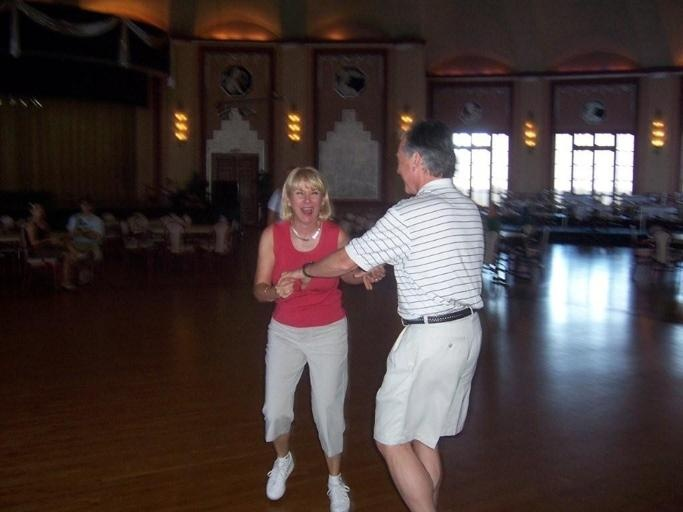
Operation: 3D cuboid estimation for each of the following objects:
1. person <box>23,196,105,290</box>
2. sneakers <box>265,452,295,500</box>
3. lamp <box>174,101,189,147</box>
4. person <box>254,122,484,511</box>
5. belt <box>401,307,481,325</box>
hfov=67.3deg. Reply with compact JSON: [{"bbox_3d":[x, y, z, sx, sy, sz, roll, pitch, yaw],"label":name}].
[{"bbox_3d":[-4.358,-0.175,8.260,1.052,1.392,1.112,-2,8,-17],"label":"person"},{"bbox_3d":[-0.320,1.160,2.699,0.091,0.112,0.266,4,17,5],"label":"sneakers"},{"bbox_3d":[-4.817,-3.827,15.430,0.320,0.716,0.219,0,0,13],"label":"lamp"},{"bbox_3d":[0.273,0.273,2.176,0.599,1.642,0.371,3,9,21],"label":"person"},{"bbox_3d":[0.420,0.259,2.123,0.313,0.090,0.136,0,8,0],"label":"belt"}]
